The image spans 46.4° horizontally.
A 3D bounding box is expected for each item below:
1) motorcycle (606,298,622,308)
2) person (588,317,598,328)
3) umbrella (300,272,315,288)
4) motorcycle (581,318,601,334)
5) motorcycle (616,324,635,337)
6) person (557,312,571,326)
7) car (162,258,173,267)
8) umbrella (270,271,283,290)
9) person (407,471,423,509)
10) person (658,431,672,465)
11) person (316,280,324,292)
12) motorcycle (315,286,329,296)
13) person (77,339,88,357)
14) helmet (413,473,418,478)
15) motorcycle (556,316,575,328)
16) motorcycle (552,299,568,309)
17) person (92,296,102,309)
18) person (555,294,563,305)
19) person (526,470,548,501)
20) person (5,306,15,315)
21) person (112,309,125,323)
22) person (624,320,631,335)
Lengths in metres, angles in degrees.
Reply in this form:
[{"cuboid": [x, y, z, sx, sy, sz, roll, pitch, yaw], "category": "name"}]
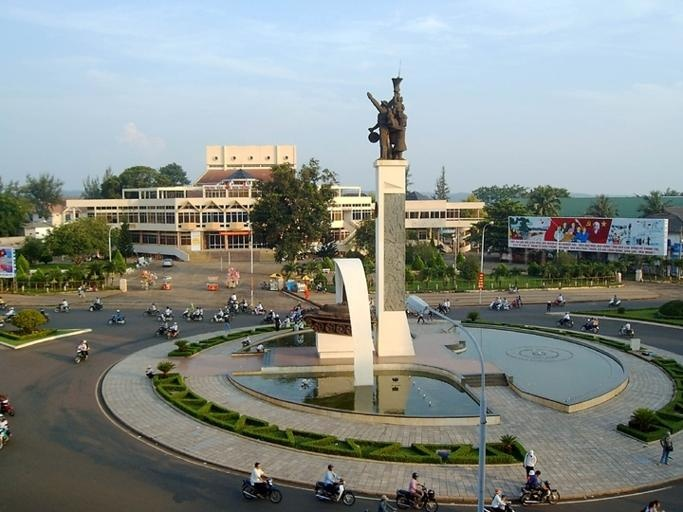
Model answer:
[{"cuboid": [23.627, 4.097, 68.645, 1.469, 1.008, 0.784, 4, -5, -44], "category": "motorcycle"}, {"cuboid": [18.519, 4.988, 58.526, 0.649, 0.336, 0.862, -2, 9, 7], "category": "person"}, {"cuboid": [-3.329, 2.332, 77.030, 1.209, 0.630, 1.371, -19, 37, -32], "category": "umbrella"}, {"cuboid": [18.438, 5.191, 58.838, 0.973, 0.995, 1.564, 7, 9, 5], "category": "motorcycle"}, {"cuboid": [20.645, 5.429, 57.511, 0.781, 0.988, 1.569, 4, 5, -1], "category": "motorcycle"}, {"cuboid": [17.146, 4.918, 61.247, 0.717, 0.882, 1.465, 6, 8, 6], "category": "person"}, {"cuboid": [-21.274, 0.861, 96.813, 1.133, 0.841, 2.616, 0, -1, -13], "category": "car"}, {"cuboid": [-6.531, 2.683, 78.993, 1.612, 1.976, 1.521, -1, -1, -3], "category": "umbrella"}, {"cuboid": [3.415, 10.812, 36.665, 0.687, 1.603, 0.556, 3, 8, 21], "category": "person"}, {"cuboid": [16.324, 9.454, 39.855, 0.590, 1.436, 2.059, 3, 8, 23], "category": "person"}, {"cuboid": [-2.174, 2.959, 77.037, 0.861, 1.128, 0.720, 2, 8, 14], "category": "person"}, {"cuboid": [-2.029, 3.428, 77.128, 0.967, 0.642, 0.946, 2, 0, 0], "category": "motorcycle"}, {"cuboid": [-16.927, 6.111, 51.560, 0.843, 0.852, 1.433, 2, -2, -5], "category": "person"}, {"cuboid": [3.386, 10.128, 36.627, 0.216, 0.258, 0.267, 2, 23, 5], "category": "helmet"}, {"cuboid": [17.256, 5.174, 60.938, 1.376, 0.786, 0.658, 3, 0, 36], "category": "motorcycle"}, {"cuboid": [19.171, 4.273, 70.250, 0.584, 0.668, 1.161, -6, -1, -9], "category": "motorcycle"}, {"cuboid": [-20.505, 3.947, 66.594, 0.705, 0.842, 1.399, 5, 7, -18], "category": "person"}, {"cuboid": [19.238, 3.934, 70.294, 0.646, 0.582, 0.932, 2, 10, -6], "category": "person"}, {"cuboid": [9.037, 10.680, 37.116, 1.310, 0.815, 0.810, -1, 5, -12], "category": "person"}, {"cuboid": [-26.155, 4.423, 62.652, 0.780, 0.488, 1.201, -1, 2, -34], "category": "person"}, {"cuboid": [-17.215, 4.830, 61.511, 0.842, 0.862, 1.375, -1, -7, 15], "category": "person"}, {"cuboid": [20.687, 5.277, 57.358, 0.539, 0.572, 1.022, 3, 5, 14], "category": "person"}]
